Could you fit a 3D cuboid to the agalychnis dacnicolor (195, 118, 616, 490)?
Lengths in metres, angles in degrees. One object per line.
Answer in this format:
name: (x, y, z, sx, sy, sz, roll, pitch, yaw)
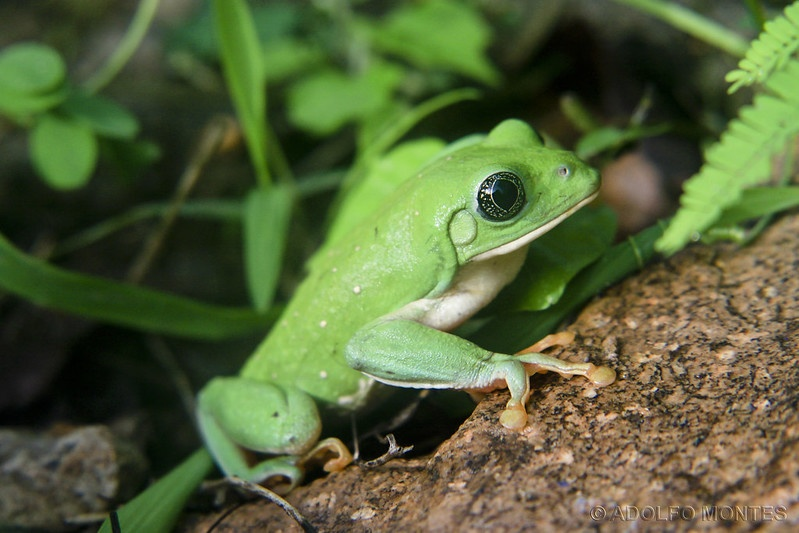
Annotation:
agalychnis dacnicolor: (-0.069, 0.158, 3.086, 1.367, 0.601, 1.503, -25, 32, 18)
